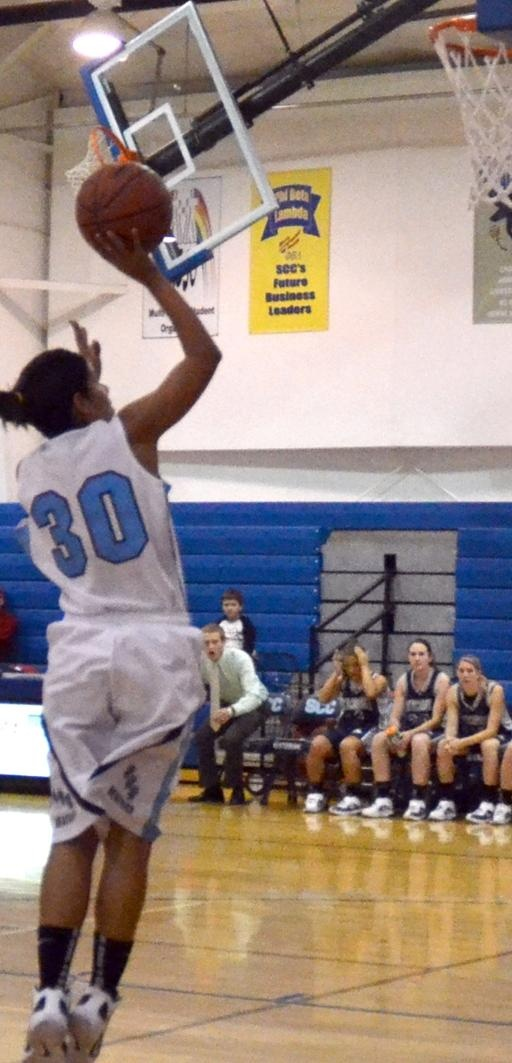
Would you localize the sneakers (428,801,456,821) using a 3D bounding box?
[{"bbox_3d":[1.109,1.673,6.205,0.078,0.096,0.212,-10,-18,25],"label":"sneakers"}]

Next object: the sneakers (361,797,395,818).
[{"bbox_3d":[0.729,1.652,6.225,0.193,0.122,0.192,1,-8,6],"label":"sneakers"}]

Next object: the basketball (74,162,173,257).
[{"bbox_3d":[-0.262,-0.609,2.056,0.173,0.175,0.179,-5,-17,-9],"label":"basketball"}]

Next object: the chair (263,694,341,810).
[{"bbox_3d":[0.328,1.378,6.940,0.360,0.470,0.802,2,-2,7],"label":"chair"}]

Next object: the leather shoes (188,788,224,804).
[{"bbox_3d":[-0.307,1.684,6.582,0.234,0.101,0.087,5,-7,0],"label":"leather shoes"}]

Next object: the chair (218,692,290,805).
[{"bbox_3d":[0.060,1.422,6.826,0.683,0.682,0.442,2,-7,2],"label":"chair"}]

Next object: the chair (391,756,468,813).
[{"bbox_3d":[1.030,1.537,6.448,0.343,0.421,0.439,8,-10,-35],"label":"chair"}]

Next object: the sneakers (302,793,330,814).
[{"bbox_3d":[0.364,1.678,6.420,0.121,0.109,0.421,1,-8,7],"label":"sneakers"}]

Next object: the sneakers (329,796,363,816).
[{"bbox_3d":[0.542,1.658,6.273,0.196,0.117,0.236,1,-8,3],"label":"sneakers"}]

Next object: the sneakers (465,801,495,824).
[{"bbox_3d":[1.320,1.652,6.099,0.179,0.123,0.176,3,-8,-10],"label":"sneakers"}]
